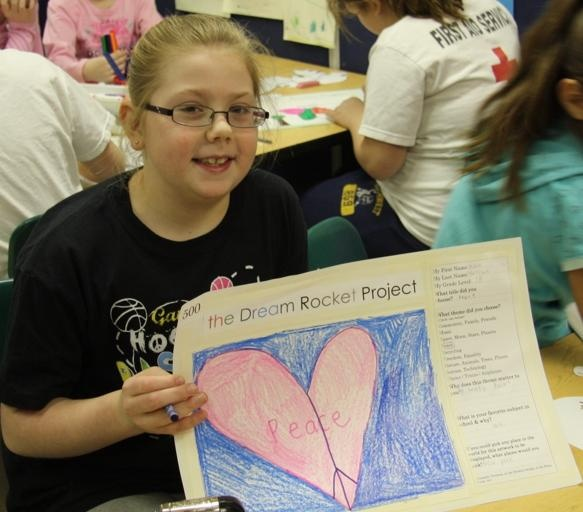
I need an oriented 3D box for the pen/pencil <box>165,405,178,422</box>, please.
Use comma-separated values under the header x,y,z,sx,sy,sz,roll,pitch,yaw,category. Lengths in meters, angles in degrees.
x,y,z,sx,sy,sz,roll,pitch,yaw,category
-0.149,0.200,0.708,0.006,0.006,0.025,-44,30,7,pen/pencil
